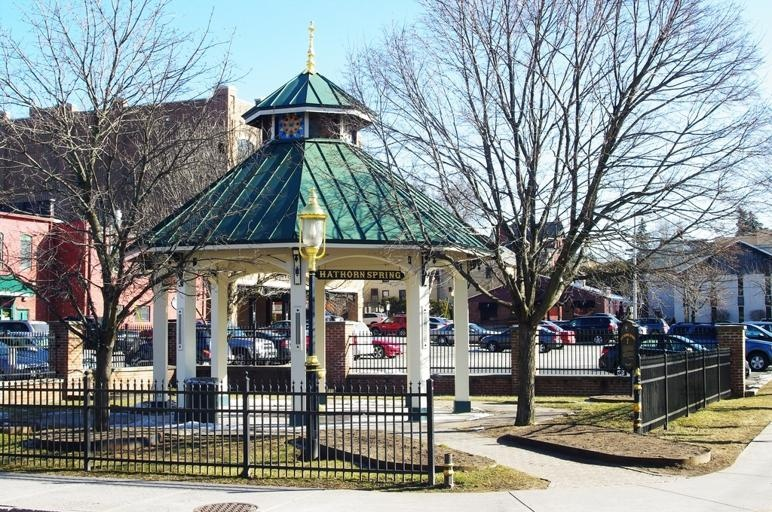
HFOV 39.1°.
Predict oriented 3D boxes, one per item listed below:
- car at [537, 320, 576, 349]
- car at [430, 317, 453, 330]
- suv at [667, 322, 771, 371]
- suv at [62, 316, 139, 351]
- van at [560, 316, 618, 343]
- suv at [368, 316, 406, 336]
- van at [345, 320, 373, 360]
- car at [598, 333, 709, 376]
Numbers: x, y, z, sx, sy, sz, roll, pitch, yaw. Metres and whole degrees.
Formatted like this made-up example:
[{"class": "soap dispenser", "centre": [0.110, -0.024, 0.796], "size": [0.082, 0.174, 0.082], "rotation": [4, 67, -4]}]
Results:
[{"class": "car", "centre": [9.185, 4.103, 55.329], "size": [3.130, 1.115, 1.457], "rotation": [-2, -1, 14]}, {"class": "car", "centre": [3.014, 3.979, 63.463], "size": [1.733, 0.880, 1.141], "rotation": [-3, 2, 6]}, {"class": "suv", "centre": [14.531, 4.364, 46.626], "size": [5.089, 2.327, 2.473], "rotation": [-2, -2, 11]}, {"class": "suv", "centre": [-9.272, 2.581, 35.203], "size": [2.567, 1.316, 1.692], "rotation": [-3, -3, 5]}, {"class": "van", "centre": [9.382, 3.442, 50.153], "size": [3.208, 1.225, 1.519], "rotation": [0, -1, 30]}, {"class": "suv", "centre": [0.308, 4.355, 66.397], "size": [1.907, 1.025, 1.136], "rotation": [6, -6, 9]}, {"class": "van", "centre": [-1.025, 3.581, 44.916], "size": [1.048, 0.954, 1.822], "rotation": [0, 2, -8]}, {"class": "car", "centre": [9.566, 3.690, 40.044], "size": [3.449, 1.626, 5.928], "rotation": [2, 6, 11]}]
